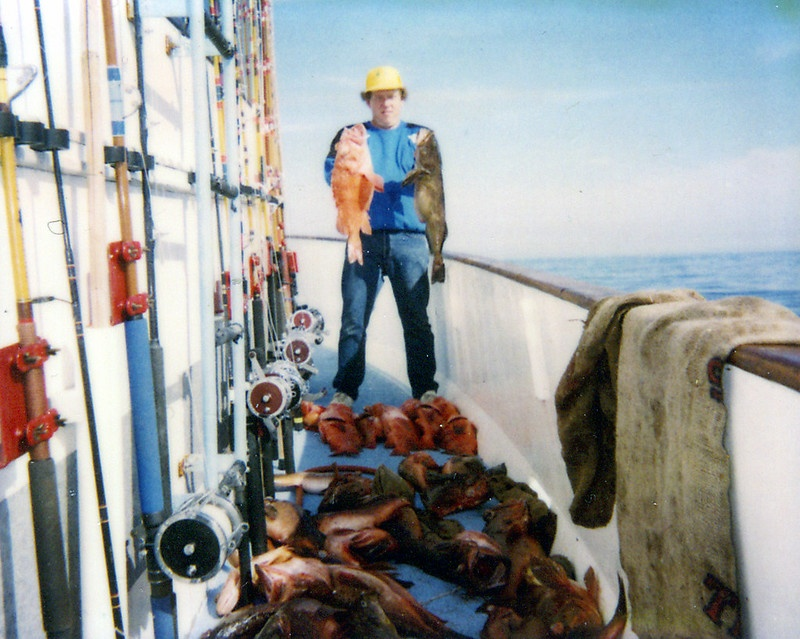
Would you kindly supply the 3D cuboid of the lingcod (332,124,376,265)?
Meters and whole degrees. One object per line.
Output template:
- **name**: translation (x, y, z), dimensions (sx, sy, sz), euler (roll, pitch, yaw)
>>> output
- **lingcod**: translation (-0.324, -0.940, 5.703), dimensions (0.362, 1.135, 0.299), euler (3, 4, 24)

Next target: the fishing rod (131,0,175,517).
- **fishing rod**: translation (-0.869, -0.203, 2.489), dimensions (0.063, 1.784, 0.287), euler (-2, 6, -20)

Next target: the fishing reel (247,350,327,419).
- **fishing reel**: translation (-0.513, 0.333, 3.306), dimensions (0.189, 0.283, 0.467), euler (-5, -1, 19)

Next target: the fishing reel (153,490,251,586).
- **fishing reel**: translation (-0.673, 0.722, 2.547), dimensions (0.257, 0.288, 0.369), euler (-21, 7, 4)

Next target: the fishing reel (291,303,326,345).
- **fishing reel**: translation (-0.634, -0.044, 4.807), dimensions (0.180, 0.302, 0.098), euler (8, 29, 29)

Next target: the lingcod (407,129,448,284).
- **lingcod**: translation (0.199, -0.910, 5.542), dimensions (0.292, 1.227, 0.320), euler (-2, -3, -2)

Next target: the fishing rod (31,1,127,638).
- **fishing rod**: translation (-1.001, -0.017, 2.190), dimensions (0.035, 2.106, 0.073), euler (-10, 9, -42)
